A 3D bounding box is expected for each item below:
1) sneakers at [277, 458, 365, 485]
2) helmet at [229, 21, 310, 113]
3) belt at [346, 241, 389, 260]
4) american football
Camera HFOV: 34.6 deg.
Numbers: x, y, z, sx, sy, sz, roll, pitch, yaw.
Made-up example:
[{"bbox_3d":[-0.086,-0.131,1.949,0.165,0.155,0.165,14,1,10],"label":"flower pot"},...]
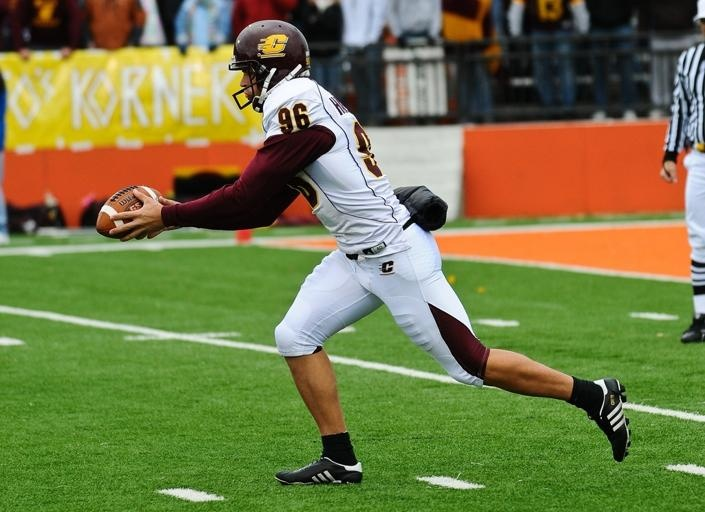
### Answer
[{"bbox_3d":[-0.151,1.032,5.444,0.422,0.133,0.139,3,-12,-2],"label":"sneakers"},{"bbox_3d":[-0.398,-0.930,5.441,0.484,0.450,0.394,-1,5,11],"label":"helmet"},{"bbox_3d":[0.060,-0.019,5.386,0.126,0.029,0.098,-18,6,22],"label":"belt"},{"bbox_3d":[-1.119,-0.228,5.488,0.339,0.183,0.201,-19,-1,-6],"label":"american football"}]
